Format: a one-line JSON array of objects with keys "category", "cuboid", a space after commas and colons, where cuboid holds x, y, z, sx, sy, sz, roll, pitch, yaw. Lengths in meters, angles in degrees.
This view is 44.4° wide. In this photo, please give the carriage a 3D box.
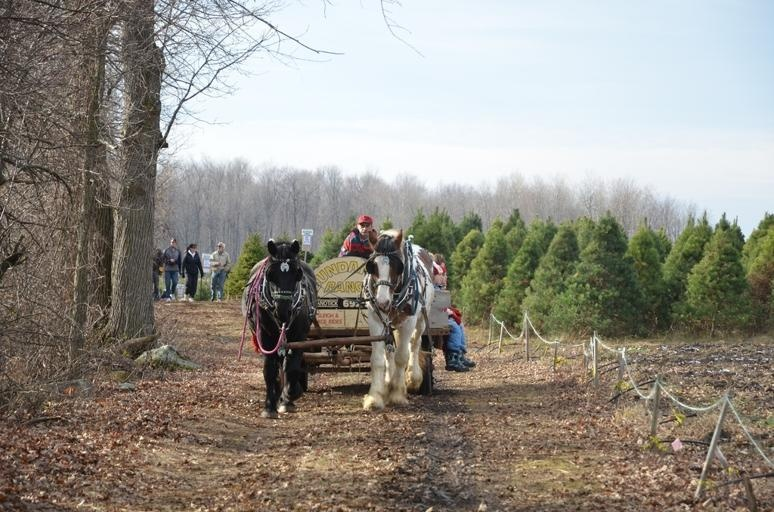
[{"category": "carriage", "cuboid": [-1.478, 1.491, 18.214, 2.485, 2.455, 3.612, -1, -11, -1]}]

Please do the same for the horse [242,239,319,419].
[{"category": "horse", "cuboid": [-1.907, 1.311, 17.985, 1.097, 3.100, 4.562, 0, -2, -5]}]

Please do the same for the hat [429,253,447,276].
[{"category": "hat", "cuboid": [1.160, 0.191, 22.118, 0.377, 0.254, 0.559, 2, -4, 23]}]
